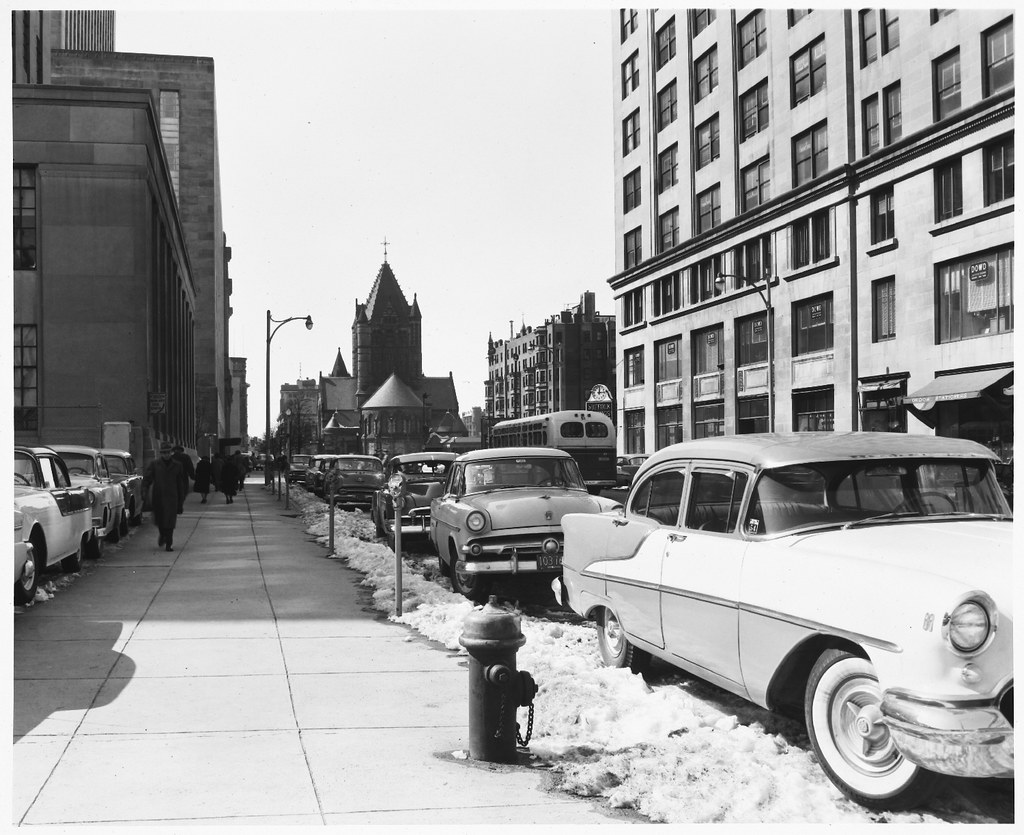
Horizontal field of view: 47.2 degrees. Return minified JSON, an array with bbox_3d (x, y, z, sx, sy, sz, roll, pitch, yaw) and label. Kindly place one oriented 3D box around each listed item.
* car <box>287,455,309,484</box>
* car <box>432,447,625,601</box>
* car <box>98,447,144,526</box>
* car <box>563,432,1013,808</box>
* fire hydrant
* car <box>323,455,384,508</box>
[{"bbox_3d":[-10.969,2.539,60.238,1.088,1.128,2.488,1,-4,-15],"label":"car"},{"bbox_3d":[-0.060,1.221,14.282,1.345,1.158,2.440,0,-5,-10],"label":"car"},{"bbox_3d":[-8.108,1.265,24.176,0.894,1.152,2.244,0,-4,-5],"label":"car"},{"bbox_3d":[2.183,1.216,8.464,1.768,1.295,3.283,2,-4,-26],"label":"car"},{"bbox_3d":[-0.103,1.854,8.361,0.537,1.138,0.331,0,2,0],"label":"fire hydrant"},{"bbox_3d":[-4.581,1.761,34.308,1.249,1.344,2.816,2,-5,-16],"label":"car"}]
